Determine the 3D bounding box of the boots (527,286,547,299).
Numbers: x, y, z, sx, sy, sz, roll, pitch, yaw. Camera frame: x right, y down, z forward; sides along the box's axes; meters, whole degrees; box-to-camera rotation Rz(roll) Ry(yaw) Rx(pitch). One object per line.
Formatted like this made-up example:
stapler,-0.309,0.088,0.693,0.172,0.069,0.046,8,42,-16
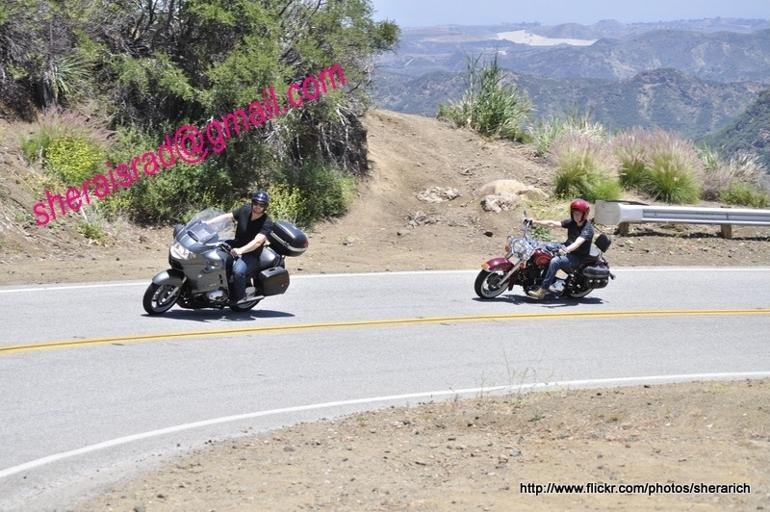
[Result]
boots,3.234,0.757,17.242,0.399,0.137,0.503,-7,-3,21

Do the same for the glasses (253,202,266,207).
glasses,-2.332,-0.988,15.344,0.142,0.099,0.036,5,10,1

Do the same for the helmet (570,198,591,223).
helmet,4.176,-0.985,17.477,0.377,0.488,0.642,0,12,9
